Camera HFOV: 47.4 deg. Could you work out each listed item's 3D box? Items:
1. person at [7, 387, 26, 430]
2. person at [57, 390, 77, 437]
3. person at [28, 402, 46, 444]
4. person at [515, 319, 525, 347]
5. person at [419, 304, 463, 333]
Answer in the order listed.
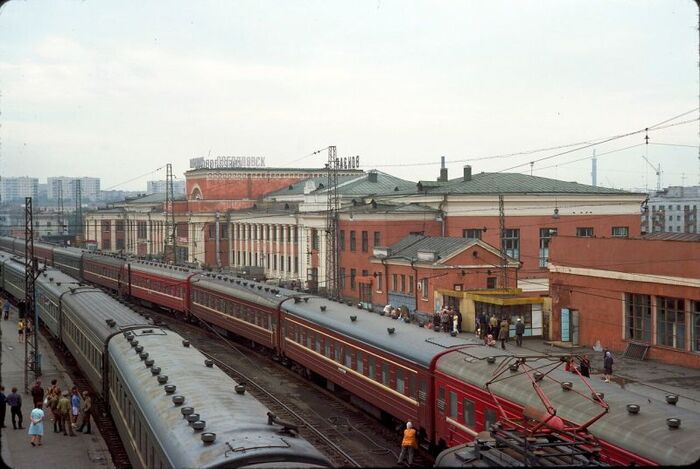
[{"bbox_3d":[-12.657,6.427,30.169,0.518,1.543,1.096,-4,9,-23],"label":"person"},{"bbox_3d":[-10.619,6.630,29.790,0.514,1.417,1.102,-4,9,-20],"label":"person"},{"bbox_3d":[-11.200,6.751,28.529,0.460,1.433,1.051,-4,9,-22],"label":"person"},{"bbox_3d":[8.564,4.926,40.487,0.372,1.439,1.180,1,8,12],"label":"person"},{"bbox_3d":[4.911,4.373,42.138,1.184,1.190,1.986,3,-3,-30],"label":"person"}]
